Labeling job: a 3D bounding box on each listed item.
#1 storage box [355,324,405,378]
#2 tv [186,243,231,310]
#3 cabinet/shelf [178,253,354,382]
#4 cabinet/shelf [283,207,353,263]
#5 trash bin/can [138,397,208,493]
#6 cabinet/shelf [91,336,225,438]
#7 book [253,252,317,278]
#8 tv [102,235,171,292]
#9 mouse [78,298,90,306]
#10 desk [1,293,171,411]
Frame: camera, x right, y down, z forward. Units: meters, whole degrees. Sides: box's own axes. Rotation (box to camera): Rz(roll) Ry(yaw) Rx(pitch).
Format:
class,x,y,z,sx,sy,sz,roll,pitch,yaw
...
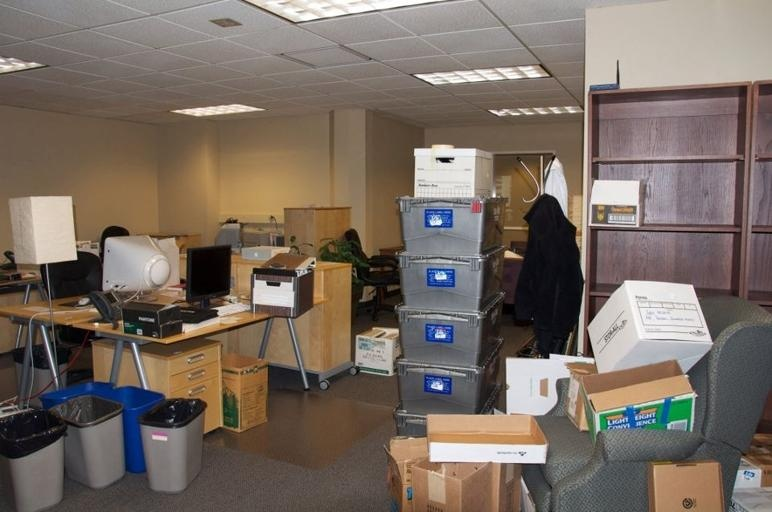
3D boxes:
class,x,y,z,sx,sy,sz,roll,pitch,yaw
storage box,-0.012,0.995,6.158,0.585,0.446,0.580,-1,1,26
tv,-1.555,0.198,4.906,0.216,0.613,0.562,3,4,30
cabinet/shelf,-1.104,0.580,5.244,1.362,0.815,0.543,3,3,28
cabinet/shelf,-1.047,-0.356,7.969,0.655,1.026,1.170,2,6,28
trash bin/can,-1.548,1.393,4.118,0.351,0.560,0.381,4,15,14
cabinet/shelf,-1.860,1.059,4.983,1.038,0.965,0.655,2,4,24
book,-0.938,0.093,5.150,0.501,0.146,0.332,1,14,5
tv,-2.133,-0.021,5.063,0.476,0.580,0.642,7,5,30
mouse,-2.697,0.413,4.986,0.091,0.025,0.088,5,12,20
desk,-2.477,0.637,4.883,1.091,0.924,1.307,3,4,23
